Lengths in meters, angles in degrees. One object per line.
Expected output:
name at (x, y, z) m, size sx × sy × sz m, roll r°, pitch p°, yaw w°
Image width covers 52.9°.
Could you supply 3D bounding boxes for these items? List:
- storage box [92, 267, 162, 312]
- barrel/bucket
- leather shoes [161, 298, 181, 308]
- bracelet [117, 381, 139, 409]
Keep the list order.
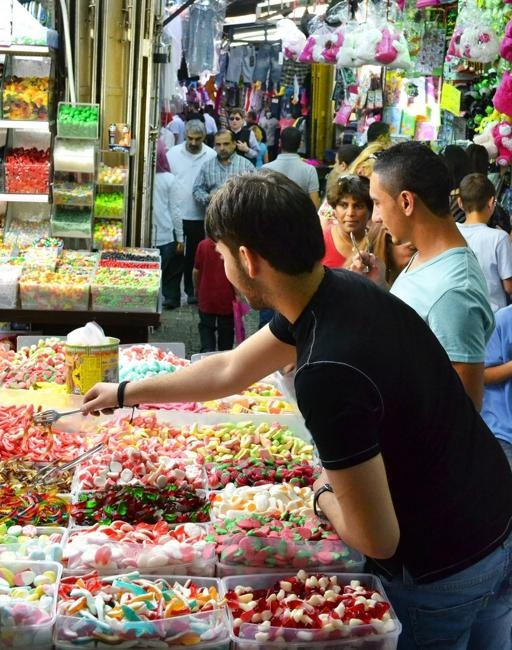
storage box at (-0.901, -0.246, 3.583) m, size 0.385 × 0.155 × 0.357 m, roll 0°, pitch 26°, yaw -2°
barrel/bucket at (-0.625, 0.153, 2.080) m, size 0.240 × 0.222 × 0.226 m, roll 1°, pitch 12°, yaw 0°
leather shoes at (-1.245, -0.295, 7.502) m, size 0.292 × 0.089 × 0.115 m, roll -1°, pitch 2°, yaw -2°
bracelet at (-0.372, 0.202, 1.476) m, size 0.061 × 0.072 × 0.030 m, roll 0°, pitch 3°, yaw 4°
